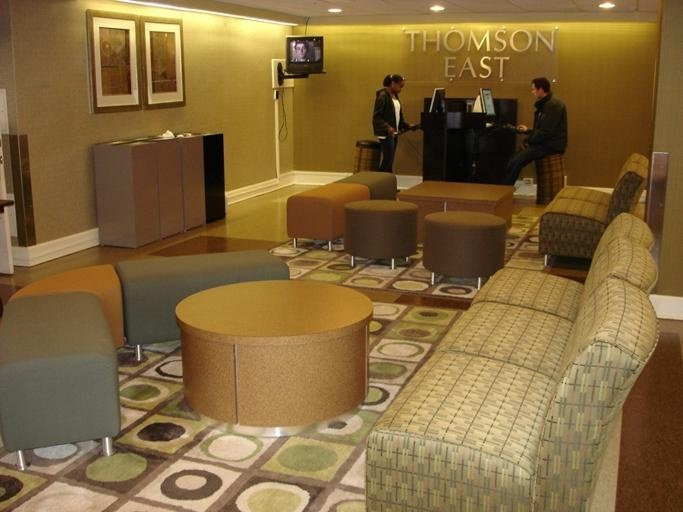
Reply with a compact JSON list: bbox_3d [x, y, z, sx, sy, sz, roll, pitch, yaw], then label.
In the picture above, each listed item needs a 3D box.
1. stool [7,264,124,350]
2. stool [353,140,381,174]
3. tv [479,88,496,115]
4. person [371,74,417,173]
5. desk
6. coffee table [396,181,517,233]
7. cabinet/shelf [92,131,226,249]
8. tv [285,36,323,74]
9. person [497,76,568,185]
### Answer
[{"bbox_3d":[-2.060,0.247,4.334,0.824,0.588,0.831,12,18,39],"label":"stool"},{"bbox_3d":[0.549,-2.105,11.508,0.720,0.754,0.717,5,9,22],"label":"stool"},{"bbox_3d":[2.736,-2.895,10.188,0.255,0.487,0.558,3,18,13],"label":"tv"},{"bbox_3d":[0.976,-2.601,10.651,0.671,1.862,0.795,12,22,35],"label":"person"},{"bbox_3d":[2.725,-2.381,11.206,1.601,2.247,2.389,3,16,16],"label":"desk"},{"bbox_3d":[1.564,-0.797,7.314,1.019,0.465,1.014,4,12,24],"label":"coffee table"},{"bbox_3d":[-2.669,-0.927,7.708,0.505,1.066,1.737,5,15,21],"label":"cabinet/shelf"},{"bbox_3d":[-0.769,-4.128,11.099,0.986,0.701,0.948,1,6,9],"label":"tv"},{"bbox_3d":[3.486,-2.230,9.674,1.072,1.812,0.473,-3,18,-7],"label":"person"}]
